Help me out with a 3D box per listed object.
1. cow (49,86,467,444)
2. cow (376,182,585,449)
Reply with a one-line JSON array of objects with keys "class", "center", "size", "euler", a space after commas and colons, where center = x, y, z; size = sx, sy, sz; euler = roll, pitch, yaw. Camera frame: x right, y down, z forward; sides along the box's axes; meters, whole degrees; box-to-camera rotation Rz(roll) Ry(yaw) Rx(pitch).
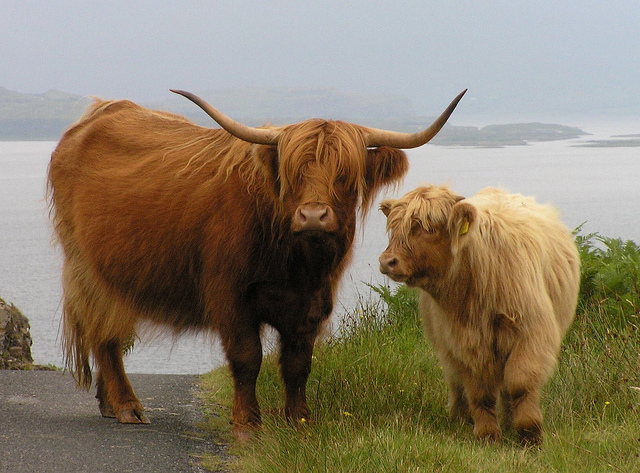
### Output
[{"class": "cow", "center": [-1.244, 0.222, 7.338], "size": [4.478, 3.366, 2.136], "euler": [1, 2, 38]}, {"class": "cow", "center": [1.646, 0.769, 7.226], "size": [1.342, 2.419, 2.909], "euler": [-8, -15, 38]}]
